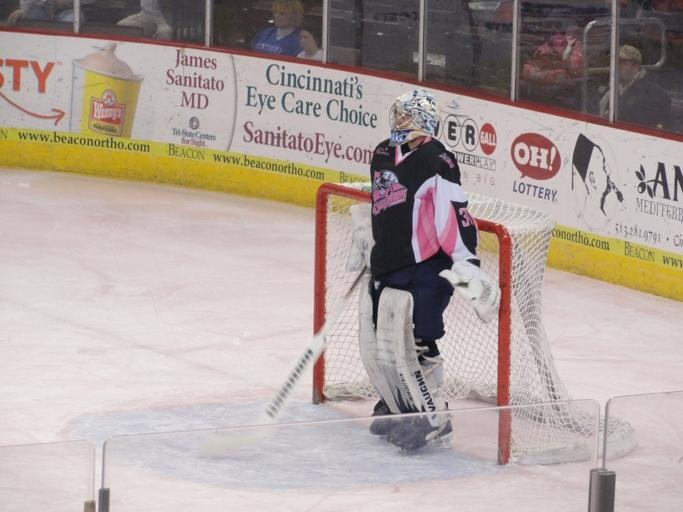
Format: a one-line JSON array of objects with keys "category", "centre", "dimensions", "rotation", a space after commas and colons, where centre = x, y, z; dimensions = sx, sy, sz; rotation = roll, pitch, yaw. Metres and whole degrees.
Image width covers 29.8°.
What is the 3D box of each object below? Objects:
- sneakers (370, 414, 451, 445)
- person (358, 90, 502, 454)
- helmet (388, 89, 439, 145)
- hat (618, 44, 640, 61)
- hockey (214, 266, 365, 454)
[{"category": "sneakers", "centre": [0.351, 0.805, 5.918], "dimensions": [0.450, 0.154, 0.150], "rotation": [4, 1, -20]}, {"category": "person", "centre": [0.470, 0.020, 7.156], "dimensions": [0.878, 1.896, 0.350], "rotation": [9, 6, 44]}, {"category": "helmet", "centre": [0.325, -0.794, 7.243], "dimensions": [0.353, 0.275, 0.257], "rotation": [-5, 17, -16]}, {"category": "hat", "centre": [2.277, -1.612, 10.149], "dimensions": [0.167, 0.076, 0.112], "rotation": [22, 9, -15]}, {"category": "hockey", "centre": [-0.318, 0.656, 7.908], "dimensions": [0.181, 1.115, 0.133], "rotation": [23, -24, 36]}]
